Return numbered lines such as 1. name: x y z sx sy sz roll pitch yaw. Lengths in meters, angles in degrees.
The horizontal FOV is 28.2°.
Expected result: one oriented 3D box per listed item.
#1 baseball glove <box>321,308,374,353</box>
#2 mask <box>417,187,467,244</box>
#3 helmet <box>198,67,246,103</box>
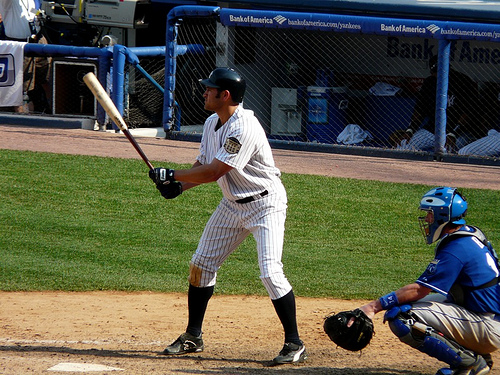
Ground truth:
1. baseball glove: 1.033 1.513 10.539 0.522 0.401 0.269 28 -20 22
2. mask: 2.097 0.297 10.691 0.526 0.568 0.538 -10 10 -16
3. helmet: -0.292 -1.151 10.891 0.466 0.257 0.323 22 8 2
